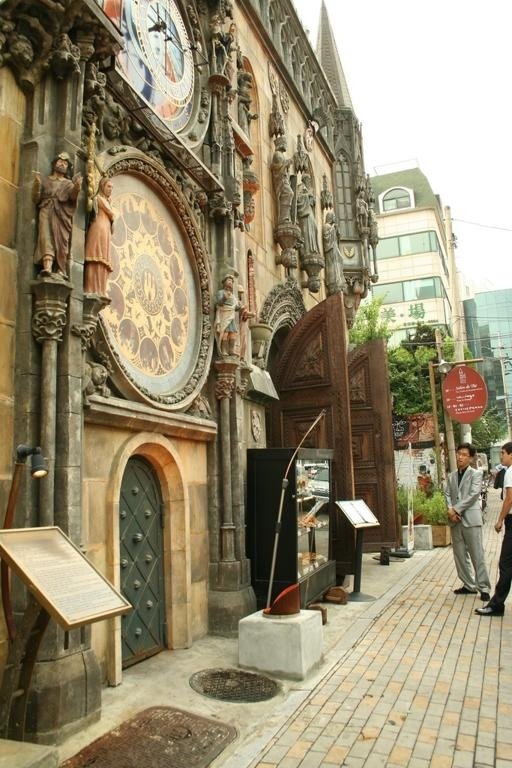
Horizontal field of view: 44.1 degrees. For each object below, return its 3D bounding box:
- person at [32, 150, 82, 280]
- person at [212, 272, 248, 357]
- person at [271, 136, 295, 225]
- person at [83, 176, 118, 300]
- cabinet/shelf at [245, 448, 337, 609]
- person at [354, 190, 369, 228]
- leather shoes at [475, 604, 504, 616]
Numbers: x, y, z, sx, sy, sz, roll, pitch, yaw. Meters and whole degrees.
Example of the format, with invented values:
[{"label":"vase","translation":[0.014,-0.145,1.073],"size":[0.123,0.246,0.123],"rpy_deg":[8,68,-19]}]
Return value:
[{"label":"person","translation":[-1.609,-1.372,5.142],"size":[0.364,1.070,0.328],"rpy_deg":[-2,-10,-20]},{"label":"person","translation":[-0.346,-0.950,8.961],"size":[0.311,1.210,0.739],"rpy_deg":[-8,-10,17]},{"label":"person","translation":[0.563,-4.281,13.405],"size":[0.345,2.167,0.524],"rpy_deg":[-10,-11,29]},{"label":"person","translation":[-1.420,-1.315,5.721],"size":[0.183,1.212,0.431],"rpy_deg":[-10,-10,27]},{"label":"cabinet/shelf","translation":[0.405,1.872,8.205],"size":[0.764,2.307,2.124],"rpy_deg":[-2,-5,23]},{"label":"person","translation":[3.195,-5.266,19.228],"size":[0.329,1.398,0.671],"rpy_deg":[-8,-10,20]},{"label":"leather shoes","translation":[2.777,2.705,7.535],"size":[0.360,0.164,0.138],"rpy_deg":[4,-13,7]}]
